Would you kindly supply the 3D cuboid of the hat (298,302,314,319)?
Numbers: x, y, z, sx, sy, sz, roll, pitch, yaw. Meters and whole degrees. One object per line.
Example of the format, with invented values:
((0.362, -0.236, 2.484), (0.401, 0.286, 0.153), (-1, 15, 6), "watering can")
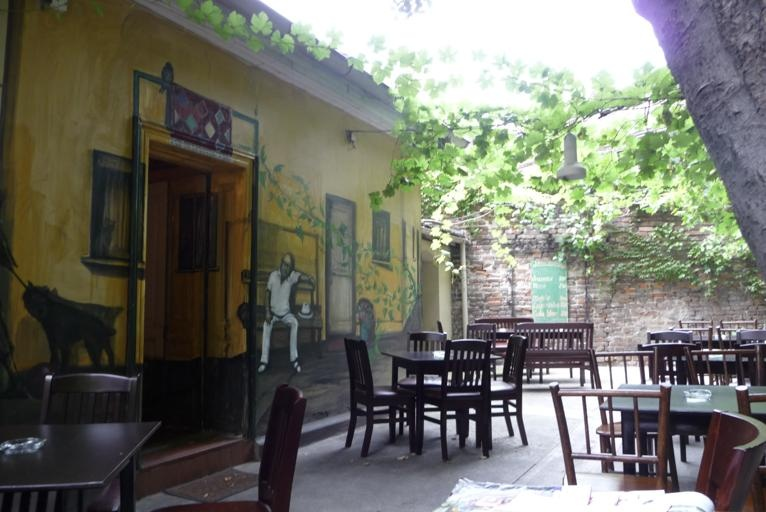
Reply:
((-0.878, 0.627, 6.478), (0.131, 0.068, 0.165), (2, 12, -2), "hat")

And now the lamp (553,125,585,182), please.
((1.739, -0.941, 5.350), (0.248, 0.434, 0.198), (-1, -1, 15), "lamp")
